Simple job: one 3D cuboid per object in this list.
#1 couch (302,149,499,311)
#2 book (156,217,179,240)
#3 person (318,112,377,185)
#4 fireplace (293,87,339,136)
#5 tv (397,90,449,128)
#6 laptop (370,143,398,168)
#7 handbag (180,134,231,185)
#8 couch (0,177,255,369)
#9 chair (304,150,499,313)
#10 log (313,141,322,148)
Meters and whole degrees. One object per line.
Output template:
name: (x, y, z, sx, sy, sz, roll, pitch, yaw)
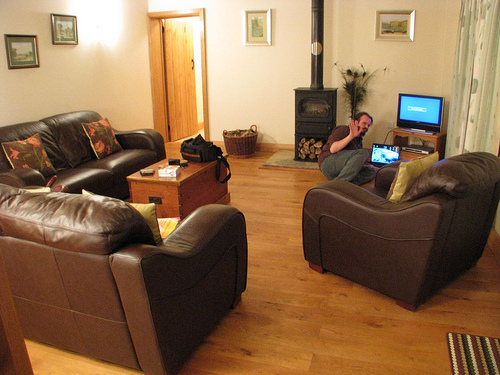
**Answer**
couch: (1.093, 0.325, 3.117, 1.161, 1.050, 1.202, -17, 23, -37)
book: (-0.684, 0.322, 3.132, 0.188, 0.049, 0.200, 4, 22, 14)
person: (1.309, -0.485, 5.161, 0.706, 1.091, 0.787, 8, -7, 29)
fireplace: (1.000, -1.151, 5.858, 0.699, 0.722, 0.589, 4, 18, 8)
tv: (2.505, -1.122, 5.532, 0.576, 0.422, 0.064, 17, 35, 35)
laptop: (1.891, -0.440, 5.614, 0.442, 0.317, 0.355, 5, -5, -13)
handbag: (-0.484, -0.388, 4.205, 0.604, 0.257, 0.448, 19, 20, 17)
couch: (-0.649, 0.387, 2.432, 1.390, 1.025, 1.037, 8, 22, 25)
chair: (1.107, 0.190, 3.078, 1.239, 1.046, 1.220, -17, 21, -39)
log: (1.054, -0.664, 5.948, 0.112, 0.096, 0.031, 0, 22, 9)
